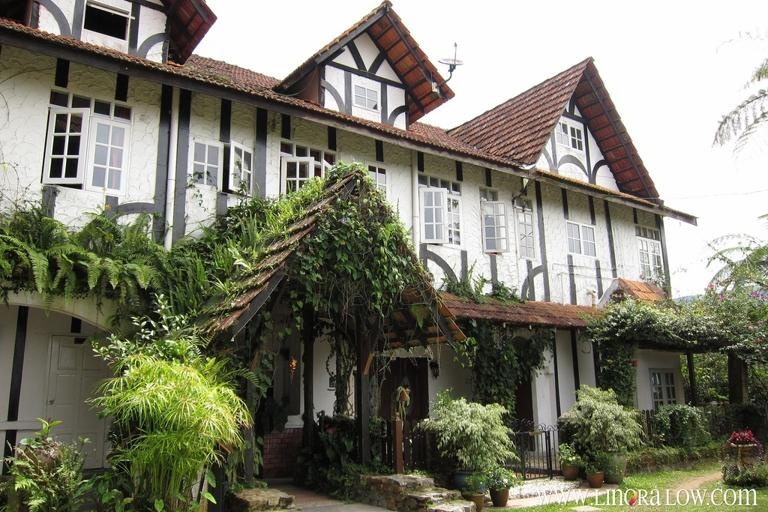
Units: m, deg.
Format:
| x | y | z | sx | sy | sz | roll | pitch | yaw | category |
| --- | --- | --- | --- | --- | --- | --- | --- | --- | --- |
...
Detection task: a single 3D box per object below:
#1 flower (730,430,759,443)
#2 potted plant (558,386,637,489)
| x | y | z | sx | sy | sz | roll | pitch | yaw | category |
| --- | --- | --- | --- | --- | --- | --- | --- | --- | --- |
| 9.215 | 4.643 | 14.978 | 0.581 | 0.298 | 0.651 | -8 | -17 | 28 | flower |
| 5.365 | 4.394 | 14.586 | 1.913 | 2.281 | 1.980 | 1 | -11 | -5 | potted plant |
